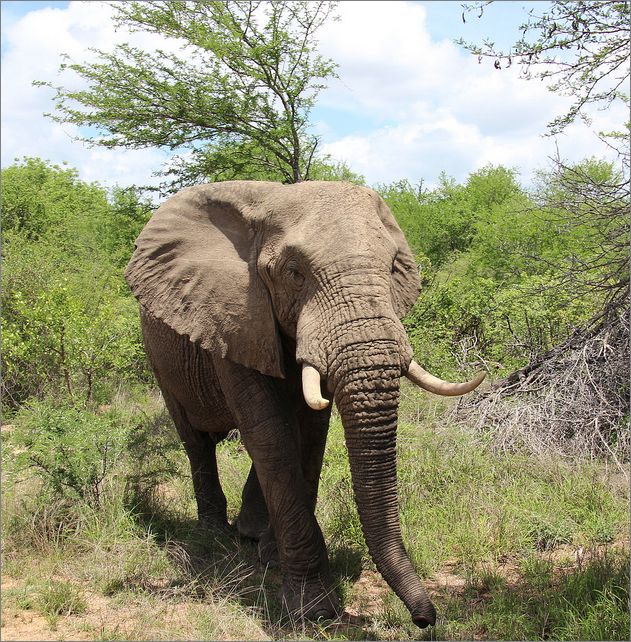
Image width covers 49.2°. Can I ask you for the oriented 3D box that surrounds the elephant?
[{"bbox_3d":[-0.296,0.643,6.294,2.872,3.148,4.832,2,-3,-21],"label":"elephant"}]
